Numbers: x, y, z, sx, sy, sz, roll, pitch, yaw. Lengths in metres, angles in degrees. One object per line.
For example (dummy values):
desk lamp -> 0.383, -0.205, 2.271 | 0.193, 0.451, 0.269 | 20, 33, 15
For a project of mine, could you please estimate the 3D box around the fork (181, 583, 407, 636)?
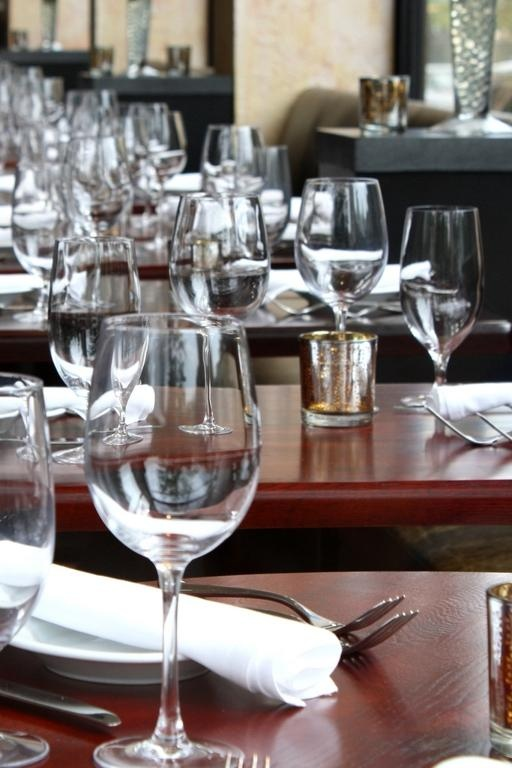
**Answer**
fork -> 0.022, 0.137, 0.430 | 0.134, 0.020, 0.018 | -1, 22, 43

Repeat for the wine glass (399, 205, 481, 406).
wine glass -> 0.254, -0.121, 0.978 | 0.110, 0.244, 0.056 | 1, 3, 10

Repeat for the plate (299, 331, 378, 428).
plate -> 0.117, -0.004, 0.956 | 0.088, 0.109, 0.090 | -1, 5, -21

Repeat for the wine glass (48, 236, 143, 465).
wine glass -> -0.185, -0.042, 0.814 | 0.097, 0.246, 0.091 | -3, 19, -19

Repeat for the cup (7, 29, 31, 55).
cup -> -2.192, -3.173, 6.595 | 0.161, 0.191, 0.168 | 3, 28, -2

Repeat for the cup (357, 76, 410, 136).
cup -> 0.493, -1.068, 2.744 | 0.201, 0.243, 0.202 | -2, 14, 0

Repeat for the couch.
couch -> 0.576, -1.305, 4.351 | 0.985, 0.744, 0.980 | -1, 12, -9

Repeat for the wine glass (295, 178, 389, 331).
wine glass -> 0.129, -0.160, 1.082 | 0.134, 0.315, 0.129 | -5, 28, -6
